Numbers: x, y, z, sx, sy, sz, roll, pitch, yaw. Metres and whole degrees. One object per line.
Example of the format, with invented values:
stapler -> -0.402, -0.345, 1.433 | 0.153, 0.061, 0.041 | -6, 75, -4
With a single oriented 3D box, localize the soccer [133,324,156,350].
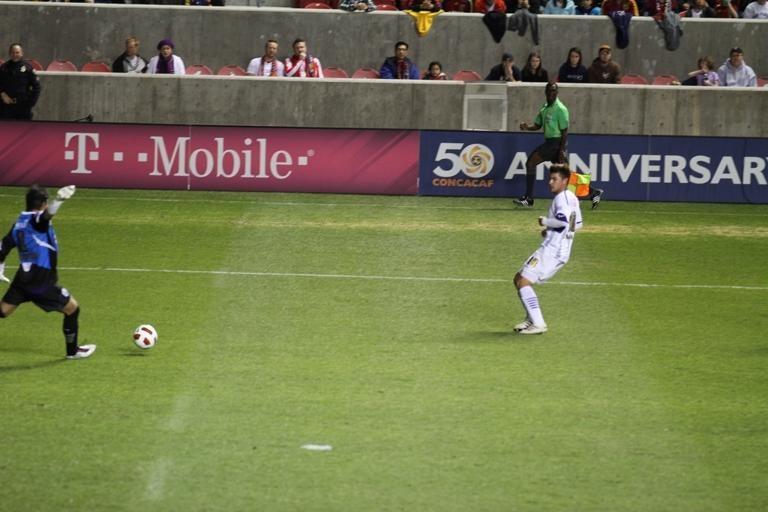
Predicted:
soccer -> -3.273, 1.080, 16.248 | 0.297, 0.327, 0.244 | -4, 14, -23

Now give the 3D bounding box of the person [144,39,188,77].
person -> -5.194, -4.636, 27.897 | 0.915, 0.741, 0.355 | 2, 13, 1

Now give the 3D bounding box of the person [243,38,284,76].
person -> -2.984, -4.821, 29.026 | 1.208, 1.093, 0.679 | 4, -4, -5

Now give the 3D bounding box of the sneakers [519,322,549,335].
sneakers -> 2.169, 0.993, 17.190 | 0.448, 0.233, 0.161 | 1, 11, 3

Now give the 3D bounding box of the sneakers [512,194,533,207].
sneakers -> 3.043, -1.216, 26.221 | 0.524, 0.240, 0.188 | 4, 10, -4

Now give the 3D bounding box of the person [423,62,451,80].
person -> 1.321, -4.482, 28.989 | 0.798, 0.349, 1.098 | 0, 4, 3

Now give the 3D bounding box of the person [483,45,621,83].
person -> 4.441, -4.489, 28.102 | 2.471, 0.857, 0.966 | 2, 12, 3

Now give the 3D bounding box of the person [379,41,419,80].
person -> 0.428, -4.450, 28.050 | 0.887, 1.068, 0.922 | 10, 14, 37

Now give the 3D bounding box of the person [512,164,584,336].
person -> 2.404, -0.154, 17.249 | 0.900, 2.429, 0.997 | 3, 13, 8

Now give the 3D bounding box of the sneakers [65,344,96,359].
sneakers -> -4.122, 1.236, 16.122 | 0.144, 0.160, 0.391 | 18, 26, 36

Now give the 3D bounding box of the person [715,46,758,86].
person -> 8.491, -4.463, 28.285 | 0.930, 0.858, 0.845 | 9, 14, 29

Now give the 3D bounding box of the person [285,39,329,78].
person -> -1.951, -4.499, 28.190 | 0.825, 1.105, 0.657 | -3, 10, 1
